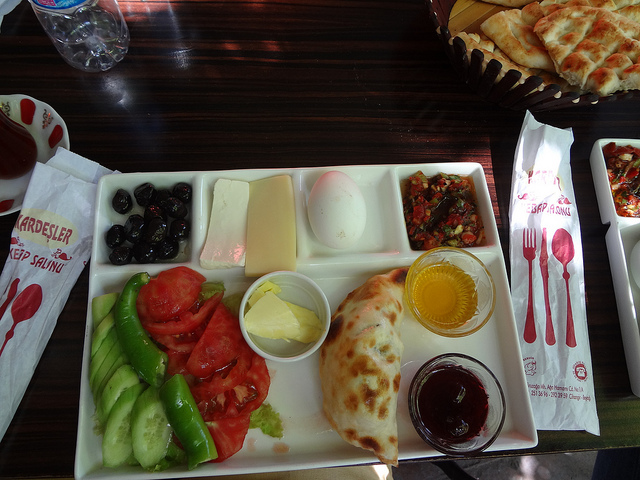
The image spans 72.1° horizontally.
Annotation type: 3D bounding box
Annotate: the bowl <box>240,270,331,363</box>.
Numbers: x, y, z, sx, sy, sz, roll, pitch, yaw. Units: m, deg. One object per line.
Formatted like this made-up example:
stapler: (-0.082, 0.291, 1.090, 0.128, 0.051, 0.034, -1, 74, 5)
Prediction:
bowl: (-0.139, 0.310, 1.798, 0.353, 0.136, 0.381, 4, 74, -13)

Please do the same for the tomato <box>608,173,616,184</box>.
tomato: (1.396, -0.293, 2.091, 0.025, 0.010, 0.036, 7, 84, 11)

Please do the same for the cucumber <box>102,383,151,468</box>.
cucumber: (-0.747, 0.691, 1.673, 0.106, 0.066, 0.303, 10, 77, 0)

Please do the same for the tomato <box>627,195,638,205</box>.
tomato: (1.483, -0.186, 2.082, 0.037, 0.012, 0.040, 17, 76, 10)

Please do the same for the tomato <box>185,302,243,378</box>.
tomato: (-0.404, 0.440, 1.820, 0.162, 0.104, 0.316, 24, 47, 19)

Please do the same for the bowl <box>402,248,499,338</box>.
bowl: (0.545, 0.220, 1.870, 0.380, 0.100, 0.353, 1, 77, -2)
